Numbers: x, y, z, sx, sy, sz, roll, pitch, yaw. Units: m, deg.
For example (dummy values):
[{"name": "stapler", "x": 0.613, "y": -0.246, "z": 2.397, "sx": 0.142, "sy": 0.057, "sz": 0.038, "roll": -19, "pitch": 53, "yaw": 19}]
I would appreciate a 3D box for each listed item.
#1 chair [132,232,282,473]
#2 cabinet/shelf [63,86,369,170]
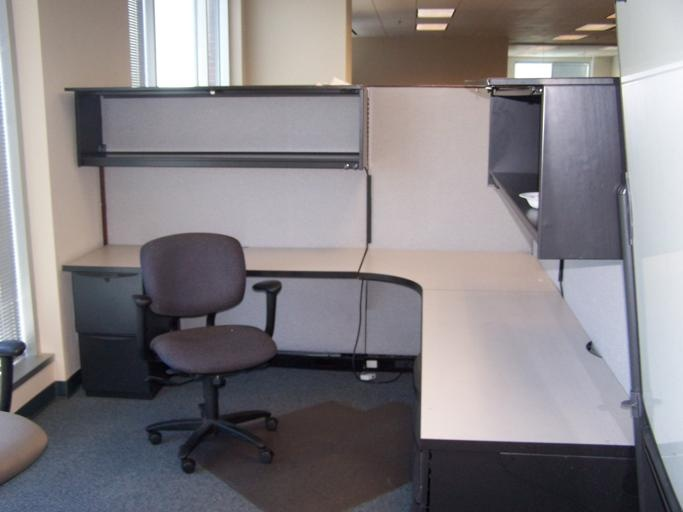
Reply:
[{"name": "chair", "x": -0.622, "y": 0.403, "z": 2.850, "sx": 0.648, "sy": 0.957, "sz": 0.840, "roll": -10, "pitch": 18, "yaw": -34}, {"name": "cabinet/shelf", "x": -0.647, "y": -0.690, "z": 3.273, "sx": 1.588, "sy": 0.459, "sz": 0.368, "roll": 2, "pitch": 15, "yaw": 5}]
